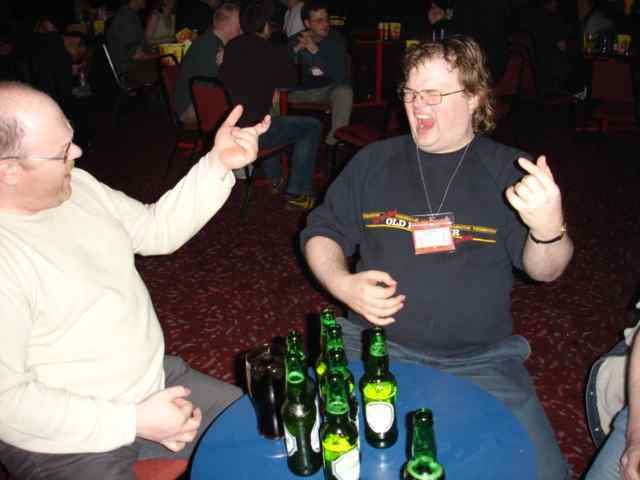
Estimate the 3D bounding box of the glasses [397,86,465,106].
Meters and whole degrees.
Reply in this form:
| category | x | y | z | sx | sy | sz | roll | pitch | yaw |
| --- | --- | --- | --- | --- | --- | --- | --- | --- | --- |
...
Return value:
| category | x | y | z | sx | sy | sz | roll | pitch | yaw |
| --- | --- | --- | --- | --- | --- | --- | --- | --- | --- |
| glasses | 0.445 | -0.561 | 1.877 | 0.234 | 0.060 | 0.080 | 4 | 27 | 15 |
